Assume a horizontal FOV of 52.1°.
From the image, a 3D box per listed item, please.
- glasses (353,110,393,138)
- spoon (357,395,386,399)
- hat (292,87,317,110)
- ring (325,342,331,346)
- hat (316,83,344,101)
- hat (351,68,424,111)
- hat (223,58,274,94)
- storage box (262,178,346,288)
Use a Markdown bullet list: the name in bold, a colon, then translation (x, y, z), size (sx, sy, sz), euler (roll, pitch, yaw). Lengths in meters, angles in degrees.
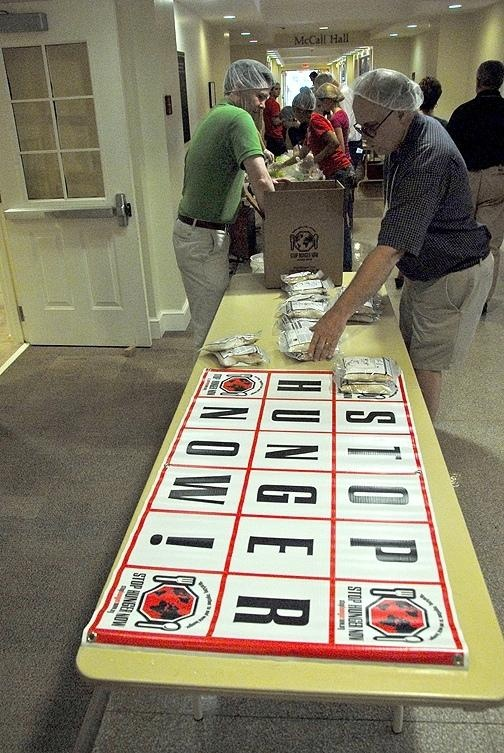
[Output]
- **glasses**: translation (0.415, -0.863, 1.807), size (0.088, 0.026, 0.083), euler (-50, 34, -10)
- **spoon**: translation (0.344, 0.062, 1.498), size (0.041, 0.005, 0.023), euler (0, 10, -5)
- **hat**: translation (0.546, -2.857, 5.351), size (0.239, 0.240, 0.252), euler (0, 44, 6)
- **ring**: translation (0.251, -0.108, 1.708), size (0.011, 0.013, 0.011), euler (6, 14, -1)
- **hat**: translation (0.715, -2.721, 4.891), size (0.189, 0.066, 0.200), euler (2, 1, 25)
- **hat**: translation (0.438, -0.947, 1.714), size (0.176, 0.059, 0.166), euler (-3, 44, -33)
- **hat**: translation (-0.026, -1.443, 2.505), size (0.207, 0.175, 0.163), euler (5, 16, 0)
- **storage box**: translation (0.201, -0.750, 2.527), size (0.485, 0.427, 0.484), euler (1, 36, -1)
